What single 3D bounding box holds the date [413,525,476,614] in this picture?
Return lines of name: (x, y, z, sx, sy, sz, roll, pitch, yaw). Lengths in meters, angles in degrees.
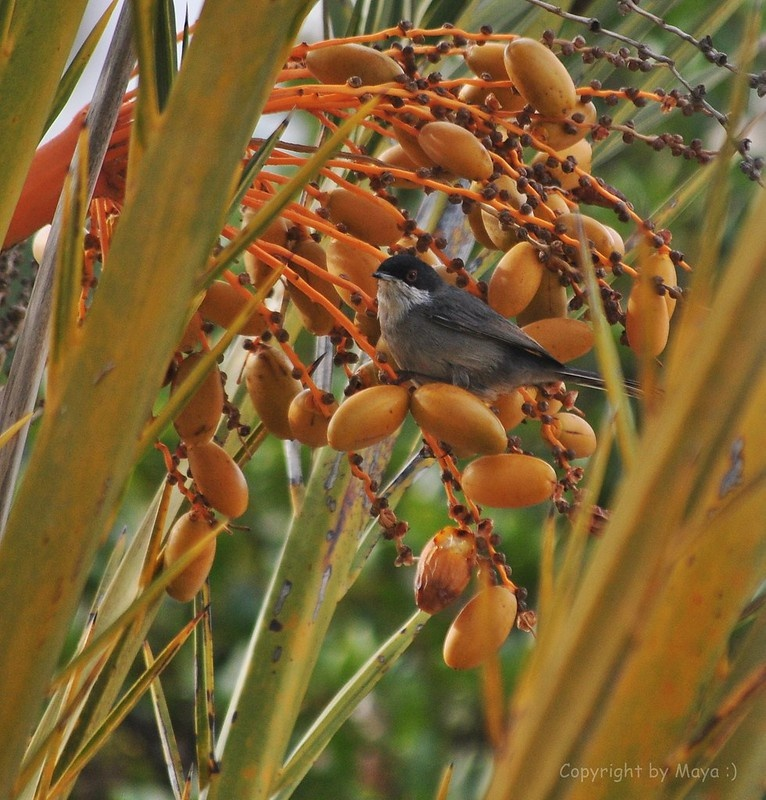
date: (0.052, 0.149, 1.332, 0.041, 0.077, 0.048, 10, 19, 38)
